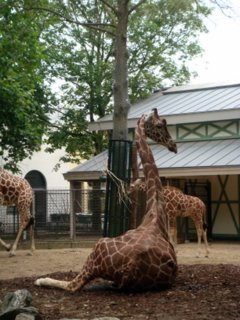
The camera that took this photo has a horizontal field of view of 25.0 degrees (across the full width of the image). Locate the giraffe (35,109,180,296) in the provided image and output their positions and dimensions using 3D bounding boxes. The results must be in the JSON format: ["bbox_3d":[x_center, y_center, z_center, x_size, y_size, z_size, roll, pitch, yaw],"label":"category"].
[{"bbox_3d":[0.248,0.699,7.563,2.308,2.850,1.874,-3,-6,3],"label":"giraffe"}]
